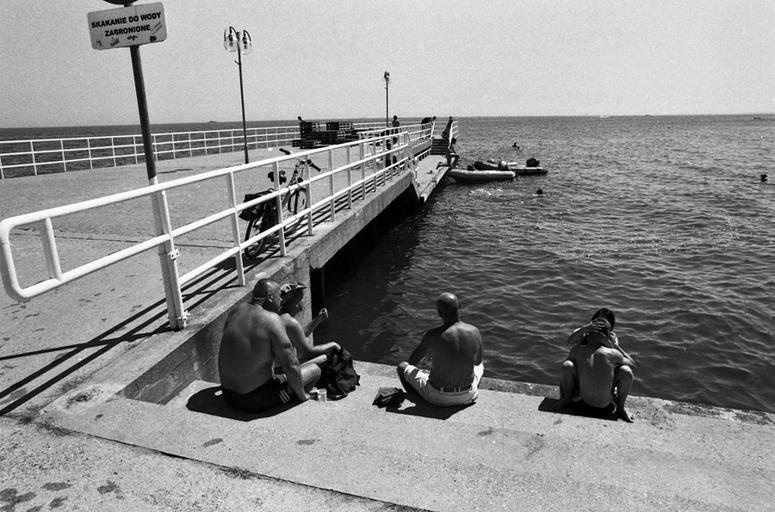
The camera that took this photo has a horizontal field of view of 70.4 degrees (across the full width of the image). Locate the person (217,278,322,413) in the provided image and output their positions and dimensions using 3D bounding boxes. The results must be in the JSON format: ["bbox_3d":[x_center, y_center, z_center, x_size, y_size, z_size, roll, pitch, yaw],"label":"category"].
[{"bbox_3d":[-1.417,1.006,6.496,1.159,1.521,1.092,4,2,41],"label":"person"}]

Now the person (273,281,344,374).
[{"bbox_3d":[-1.129,1.045,7.891,0.754,1.357,0.549,-27,38,-16],"label":"person"}]

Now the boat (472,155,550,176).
[{"bbox_3d":[7.830,-5.569,34.557,3.699,0.950,2.228,1,18,-11],"label":"boat"}]

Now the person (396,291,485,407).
[{"bbox_3d":[0.631,1.015,7.067,1.227,1.291,1.197,0,13,-5],"label":"person"}]

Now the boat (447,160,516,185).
[{"bbox_3d":[5.553,-4.821,32.330,3.217,1.161,1.890,-4,29,-6],"label":"boat"}]

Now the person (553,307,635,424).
[{"bbox_3d":[2.676,1.354,6.975,0.785,1.316,0.621,3,9,24],"label":"person"}]

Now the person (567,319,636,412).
[{"bbox_3d":[2.645,1.395,6.960,0.822,1.195,0.601,3,9,24],"label":"person"}]
